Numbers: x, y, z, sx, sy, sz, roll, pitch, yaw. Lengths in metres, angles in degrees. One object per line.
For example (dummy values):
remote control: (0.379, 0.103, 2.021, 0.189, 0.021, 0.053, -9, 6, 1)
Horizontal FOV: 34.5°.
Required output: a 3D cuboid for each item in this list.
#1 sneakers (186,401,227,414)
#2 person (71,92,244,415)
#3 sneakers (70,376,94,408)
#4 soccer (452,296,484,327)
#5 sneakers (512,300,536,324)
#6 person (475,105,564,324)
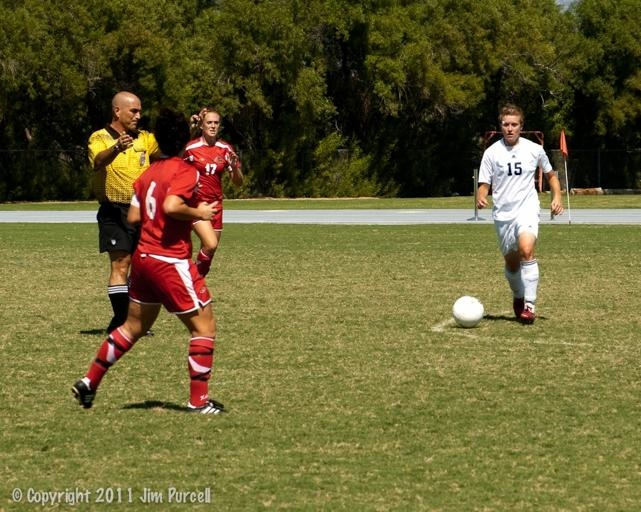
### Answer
sneakers: (-0.984, 1.312, 9.035, 0.324, 0.150, 0.122, -4, 28, -9)
person: (-1.408, 0.070, 8.932, 1.070, 2.628, 0.412, 2, 9, 16)
sneakers: (-2.068, 1.206, 9.138, 0.169, 0.348, 0.125, -11, 35, 10)
soccer: (1.671, 0.640, 11.717, 0.328, 0.335, 0.240, 0, 9, 4)
sneakers: (2.384, 0.633, 12.014, 0.226, 0.254, 0.418, 0, 10, 5)
person: (2.317, -0.501, 12.030, 0.947, 2.480, 0.752, 1, 9, 12)
